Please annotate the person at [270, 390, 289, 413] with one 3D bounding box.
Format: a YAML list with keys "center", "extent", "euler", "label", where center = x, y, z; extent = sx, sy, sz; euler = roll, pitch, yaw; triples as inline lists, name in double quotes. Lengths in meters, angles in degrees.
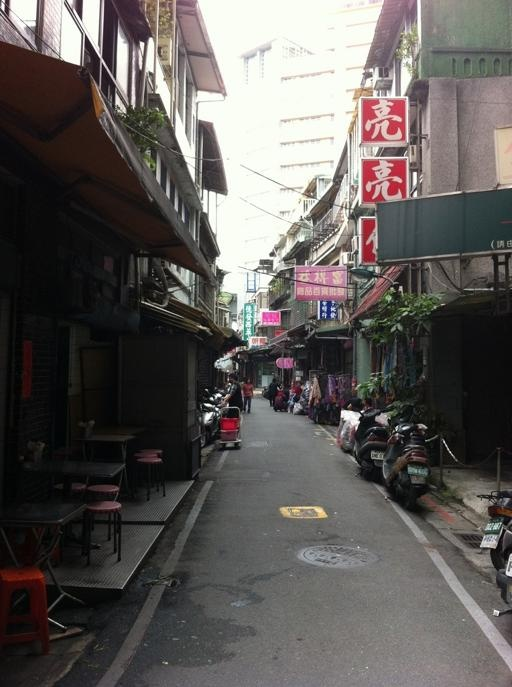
- center: [1.292, 2.995, 34.291]
  extent: [0.939, 1.454, 0.866]
  euler: [2, -24, 11]
  label: "person"

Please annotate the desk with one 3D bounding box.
- center: [-2.003, 1.635, 8.910]
  extent: [0.735, 1.141, 1.161]
  euler: [0, -3, 1]
  label: "desk"

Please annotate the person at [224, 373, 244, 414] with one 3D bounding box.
- center: [-0.810, 1.774, 22.968]
  extent: [0.666, 1.045, 1.945]
  euler: [-7, 7, 1]
  label: "person"

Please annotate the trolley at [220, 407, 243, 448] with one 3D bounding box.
- center: [-0.650, 2.118, 16.402]
  extent: [0.536, 0.929, 1.075]
  euler: [0, -3, -3]
  label: "trolley"
